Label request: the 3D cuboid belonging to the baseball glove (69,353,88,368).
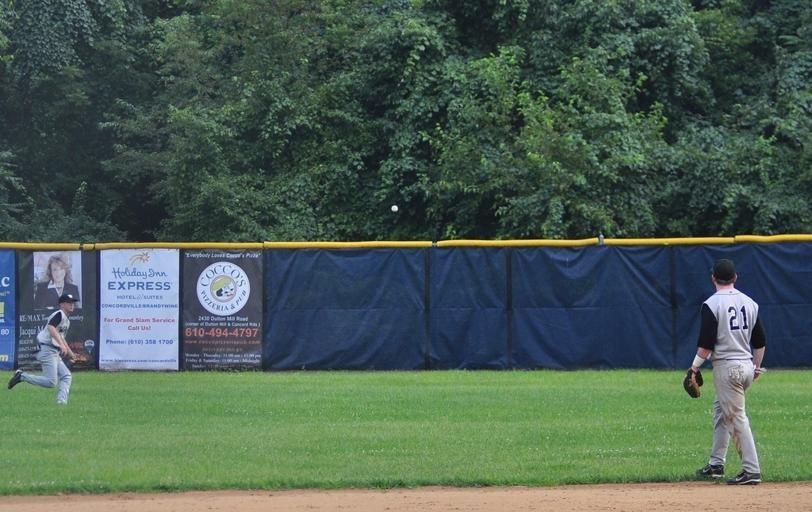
[{"bbox_3d":[-11.536,3.678,67.048,0.734,0.332,0.714,0,-2,-17],"label":"baseball glove"}]
